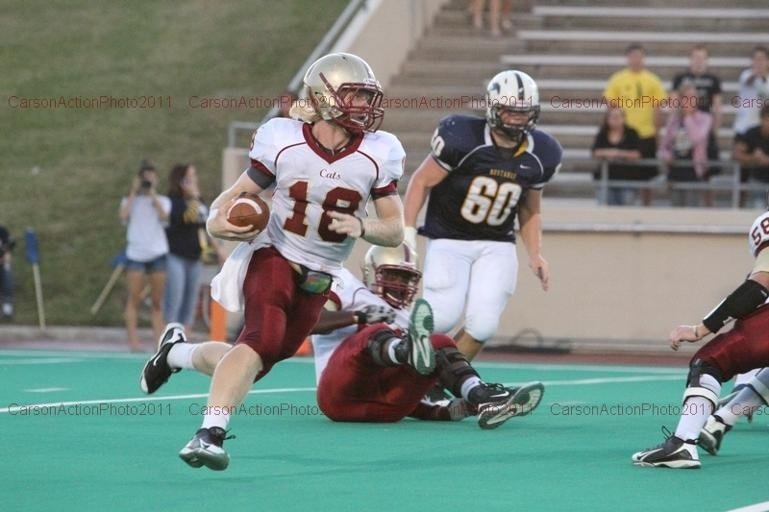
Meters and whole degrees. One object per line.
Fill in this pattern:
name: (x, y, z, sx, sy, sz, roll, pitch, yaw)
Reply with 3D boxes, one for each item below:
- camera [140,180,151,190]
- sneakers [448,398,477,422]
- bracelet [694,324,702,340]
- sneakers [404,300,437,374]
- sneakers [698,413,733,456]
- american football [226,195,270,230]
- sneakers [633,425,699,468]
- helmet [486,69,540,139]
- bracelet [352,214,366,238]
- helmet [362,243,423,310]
camera: (-2.253, -0.678, 12.510, 0.108, 0.064, 0.091, 0, 0, 0)
sneakers: (0.601, 1.236, 10.449, 0.146, 0.095, 0.252, 25, 11, 31)
bracelet: (2.221, 0.535, 9.340, 0.041, 0.051, 0.070, -7, -32, -9)
sneakers: (0.220, 0.598, 9.581, 0.211, 0.517, 0.255, 2, 21, 0)
sneakers: (2.451, 1.307, 9.873, 0.204, 0.227, 0.571, 21, -4, 19)
american football: (-0.915, -0.309, 9.239, 0.289, 0.242, 0.252, -3, -30, 7)
sneakers: (2.009, 1.407, 9.375, 0.531, 0.219, 0.191, -8, -11, 36)
helmet: (1.015, -1.218, 10.657, 0.497, 0.496, 0.568, -2, 24, -16)
bracelet: (-0.147, -0.212, 9.284, 0.119, 0.128, 0.128, 6, -5, 8)
helmet: (0.094, 0.123, 10.884, 0.496, 0.420, 0.582, 2, 12, -32)
